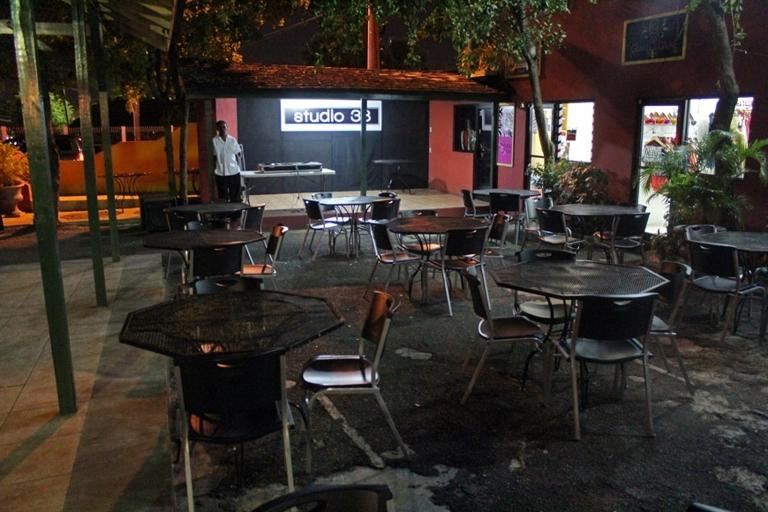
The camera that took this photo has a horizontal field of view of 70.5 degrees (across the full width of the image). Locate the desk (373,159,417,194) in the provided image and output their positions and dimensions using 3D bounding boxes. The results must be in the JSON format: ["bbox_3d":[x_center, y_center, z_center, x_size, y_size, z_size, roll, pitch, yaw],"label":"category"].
[{"bbox_3d":[0.274,-2.821,18.708,1.367,1.096,1.678,-1,12,5],"label":"desk"}]

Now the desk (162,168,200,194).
[{"bbox_3d":[-6.476,-2.489,18.088,0.631,0.876,1.997,-7,13,-23],"label":"desk"}]

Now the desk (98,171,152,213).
[{"bbox_3d":[-8.029,-2.097,16.994,0.916,0.934,0.960,4,7,42],"label":"desk"}]

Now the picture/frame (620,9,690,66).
[{"bbox_3d":[5.385,-4.356,10.856,1.501,0.853,0.023,-12,23,-12],"label":"picture/frame"}]
